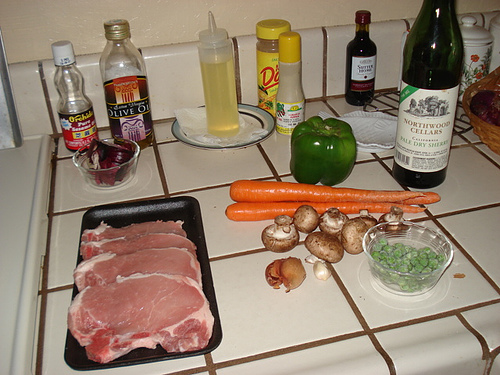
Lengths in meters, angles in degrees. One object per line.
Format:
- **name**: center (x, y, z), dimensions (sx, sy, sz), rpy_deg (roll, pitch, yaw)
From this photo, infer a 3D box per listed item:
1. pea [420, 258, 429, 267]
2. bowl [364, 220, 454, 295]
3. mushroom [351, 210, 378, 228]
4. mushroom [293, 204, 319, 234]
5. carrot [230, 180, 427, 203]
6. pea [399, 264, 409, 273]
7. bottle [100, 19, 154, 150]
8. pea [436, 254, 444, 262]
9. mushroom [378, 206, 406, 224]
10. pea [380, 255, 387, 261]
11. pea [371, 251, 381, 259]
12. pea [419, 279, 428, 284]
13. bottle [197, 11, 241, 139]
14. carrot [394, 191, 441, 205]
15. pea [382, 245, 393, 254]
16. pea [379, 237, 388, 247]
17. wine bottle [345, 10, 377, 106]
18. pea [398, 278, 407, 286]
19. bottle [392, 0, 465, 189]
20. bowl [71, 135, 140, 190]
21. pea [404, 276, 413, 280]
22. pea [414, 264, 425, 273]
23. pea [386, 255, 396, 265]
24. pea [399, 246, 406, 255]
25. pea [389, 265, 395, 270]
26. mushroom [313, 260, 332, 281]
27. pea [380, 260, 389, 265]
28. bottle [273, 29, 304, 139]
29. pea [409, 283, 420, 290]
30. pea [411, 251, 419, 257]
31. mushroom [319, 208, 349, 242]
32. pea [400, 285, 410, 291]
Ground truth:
- **pea**: center (0.356, 0.153, 0.860), dimensions (0.014, 0.008, 0.014), rpy_deg (-26, 41, -26)
- **bowl**: center (0.324, 0.163, 0.883), dimensions (0.146, 0.067, 0.150), rpy_deg (-13, 41, 12)
- **mushroom**: center (0.274, 0.073, 0.981), dimensions (0.042, 0.039, 0.043), rpy_deg (-2, 28, 12)
- **mushroom**: center (0.121, 0.075, 0.999), dimensions (0.061, 0.075, 0.058), rpy_deg (-3, 37, -2)
- **carrot**: center (0.206, 0.016, 1.103), dimensions (0.515, 0.070, 0.061), rpy_deg (1, -8, 4)
- **pea**: center (0.313, 0.165, 0.853), dimensions (0.012, 0.007, 0.013), rpy_deg (-7, 12, 5)
- **bottle**: center (-0.362, -0.301, 1.236), dimensions (0.133, 0.362, 0.176), rpy_deg (-11, 33, -11)
- **pea**: center (0.396, 0.147, 0.876), dimensions (0.011, 0.005, 0.013), rpy_deg (-2, 29, -1)
- **mushroom**: center (0.332, 0.064, 0.979), dimensions (0.045, 0.044, 0.046), rpy_deg (19, 40, 22)
- **pea**: center (0.279, 0.150, 0.883), dimensions (0.008, 0.004, 0.010), rpy_deg (-22, 9, -1)
- **pea**: center (0.267, 0.143, 0.889), dimensions (0.023, 0.007, 0.018), rpy_deg (-8, 34, -6)
- **pea**: center (0.340, 0.185, 0.829), dimensions (0.003, 0.014, 0.004), rpy_deg (43, 43, -5)
- **bottle**: center (-0.094, -0.335, 1.256), dimensions (0.116, 0.345, 0.162), rpy_deg (-6, 33, -4)
- **carrot**: center (0.415, 0.025, 1.070), dimensions (0.122, 0.035, 0.033), rpy_deg (0, 40, 8)
- **pea**: center (0.299, 0.134, 0.903), dimensions (0.015, 0.008, 0.015), rpy_deg (-1, 19, -2)
- **pea**: center (0.295, 0.120, 0.932), dimensions (0.017, 0.008, 0.017), rpy_deg (1, 47, 5)
- **wine bottle**: center (0.371, -0.437, 1.404), dimensions (0.096, 0.281, 0.098), rpy_deg (-4, 33, 2)
- **pea**: center (0.302, 0.188, 0.833), dimensions (0.014, 0.015, 0.008), rpy_deg (-6, 27, 12)
- **bottle**: center (0.444, -0.215, 1.036), dimensions (0.154, 0.426, 0.215), rpy_deg (8, 35, 18)
- **bowl**: center (-0.395, -0.082, 1.171), dimensions (0.175, 0.113, 0.164), rpy_deg (-3, 33, 2)
- **pea**: center (0.309, 0.178, 0.826), dimensions (0.010, 0.003, 0.007), rpy_deg (-2, 17, -10)
- **pea**: center (0.343, 0.163, 0.852), dimensions (0.011, 0.008, 0.014), rpy_deg (-9, 2, 5)
- **pea**: center (0.293, 0.151, 0.872), dimensions (0.013, 0.005, 0.016), rpy_deg (-5, 33, 1)
- **pea**: center (0.326, 0.135, 0.896), dimensions (0.010, 0.007, 0.012), rpy_deg (-4, 52, -51)
- **pea**: center (0.294, 0.166, 0.860), dimensions (0.012, 0.003, 0.007), rpy_deg (-3, 60, 12)
- **mushroom**: center (0.154, 0.176, 0.894), dimensions (0.039, 0.029, 0.037), rpy_deg (3, 34, 10)
- **pea**: center (0.279, 0.155, 0.873), dimensions (0.009, 0.005, 0.007), rpy_deg (21, 35, 39)
- **bottle**: center (0.117, -0.299, 1.260), dimensions (0.091, 0.296, 0.097), rpy_deg (-3, 33, 2)
- **pea**: center (0.327, 0.198, 0.838), dimensions (0.015, 0.007, 0.012), rpy_deg (-10, 29, -13)
- **pea**: center (0.349, 0.140, 0.883), dimensions (0.010, 0.006, 0.011), rpy_deg (-1, 28, 2)
- **mushroom**: center (0.192, 0.081, 0.976), dimensions (0.065, 0.070, 0.070), rpy_deg (0, 23, -12)
- **pea**: center (0.310, 0.201, 0.843), dimensions (0.012, 0.005, 0.012), rpy_deg (-3, 27, 3)
